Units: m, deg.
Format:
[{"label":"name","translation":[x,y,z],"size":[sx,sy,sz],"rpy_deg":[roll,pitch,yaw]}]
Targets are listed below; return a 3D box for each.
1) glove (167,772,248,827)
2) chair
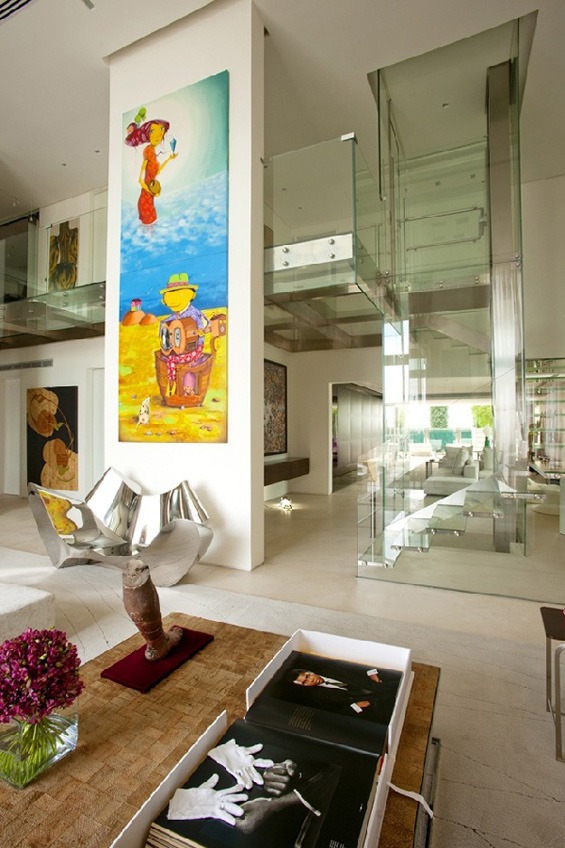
[{"label":"glove","translation":[-0.161,0.813,1.264],"size":[0.164,0.021,0.126],"rpy_deg":[-2,5,8]},{"label":"chair","translation":[-1.155,0.760,4.289],"size":[0.884,0.476,0.954],"rpy_deg":[-2,0,-23]}]
